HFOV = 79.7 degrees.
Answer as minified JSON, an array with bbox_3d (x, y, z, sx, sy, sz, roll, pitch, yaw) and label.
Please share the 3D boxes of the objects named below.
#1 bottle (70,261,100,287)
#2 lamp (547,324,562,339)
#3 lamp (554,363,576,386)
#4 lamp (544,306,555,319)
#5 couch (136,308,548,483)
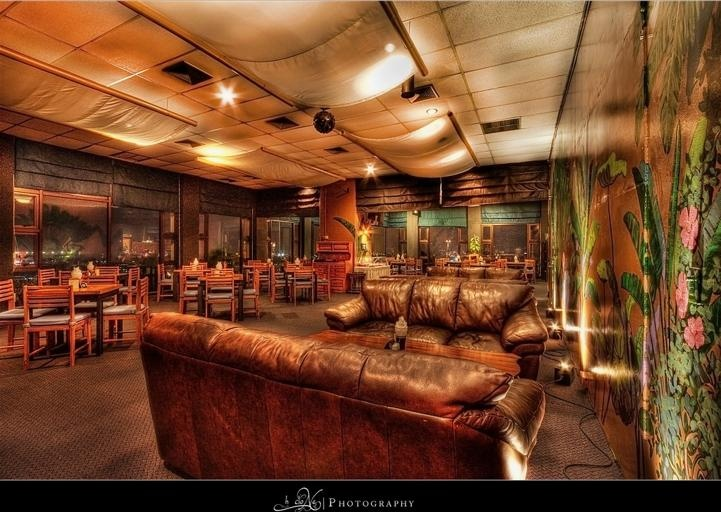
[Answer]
[{"bbox_3d":[-4.260,0.270,6.659,0.288,0.211,0.526,2,8,2],"label":"bottle"},{"bbox_3d":[2.792,1.082,6.197,0.180,0.318,0.181,-5,-10,40],"label":"lamp"},{"bbox_3d":[2.208,1.247,4.669,0.177,0.216,0.329,-1,1,33],"label":"lamp"},{"bbox_3d":[3.189,0.956,7.259,0.172,0.160,0.171,-1,-8,7],"label":"lamp"},{"bbox_3d":[-0.283,1.157,3.324,3.121,1.201,1.181,1,3,27],"label":"couch"}]
